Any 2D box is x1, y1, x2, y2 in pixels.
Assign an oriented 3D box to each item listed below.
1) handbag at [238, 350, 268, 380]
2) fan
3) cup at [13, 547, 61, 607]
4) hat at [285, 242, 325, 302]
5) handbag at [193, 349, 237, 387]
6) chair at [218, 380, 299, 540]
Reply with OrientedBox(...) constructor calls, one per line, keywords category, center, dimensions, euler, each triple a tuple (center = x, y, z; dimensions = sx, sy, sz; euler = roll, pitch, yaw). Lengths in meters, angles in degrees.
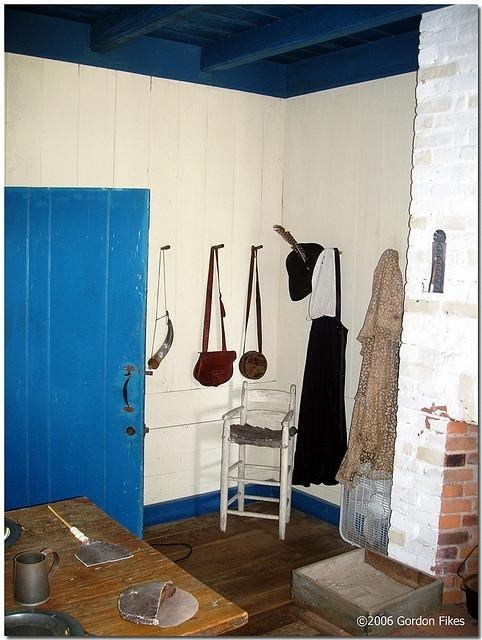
OrientedBox(category="handbag", center=(0.068, 0.297, 3.712), dimensions=(0.172, 0.194, 0.062), euler=(4, -6, -33))
OrientedBox(category="fan", center=(0.661, 0.999, 3.001), dimensions=(0.102, 0.434, 0.393), euler=(2, 0, -31))
OrientedBox(category="cup", center=(-0.441, 0.566, 1.236), dimensions=(0.067, 0.100, 0.107), euler=(0, 3, 31))
OrientedBox(category="hat", center=(0.395, -0.306, 3.619), dimensions=(0.101, 0.298, 0.350), euler=(3, -1, -20))
OrientedBox(category="handbag", center=(-0.174, 0.291, 3.462), dimensions=(0.228, 0.222, 0.068), euler=(0, 4, -36))
OrientedBox(category="chair", center=(0.111, 0.826, 3.380), dimensions=(0.421, 0.844, 0.409), euler=(2, -3, 12))
